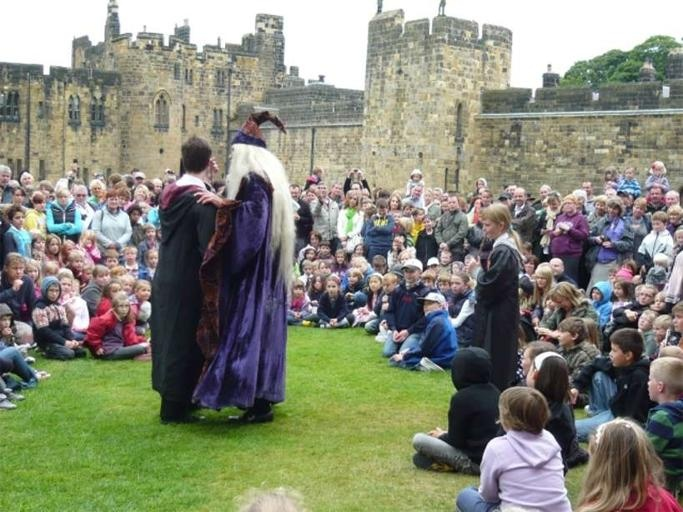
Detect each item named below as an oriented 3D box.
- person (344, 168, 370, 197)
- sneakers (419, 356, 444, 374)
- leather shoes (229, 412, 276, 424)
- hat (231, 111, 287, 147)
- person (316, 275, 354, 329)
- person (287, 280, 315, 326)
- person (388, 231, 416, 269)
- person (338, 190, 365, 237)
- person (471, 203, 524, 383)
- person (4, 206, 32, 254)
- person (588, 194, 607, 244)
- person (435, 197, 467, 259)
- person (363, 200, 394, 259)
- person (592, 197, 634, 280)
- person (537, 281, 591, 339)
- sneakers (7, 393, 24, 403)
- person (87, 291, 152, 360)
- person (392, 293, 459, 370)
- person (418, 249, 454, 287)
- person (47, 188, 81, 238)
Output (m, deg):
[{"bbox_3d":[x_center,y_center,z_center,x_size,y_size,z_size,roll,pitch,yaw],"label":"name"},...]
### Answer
[{"bbox_3d":[0.355,-1.640,29.738,0.628,0.679,0.223,-4,-9,-5],"label":"person"},{"bbox_3d":[1.460,1.739,22.181,0.278,0.088,0.265,18,-16,-30],"label":"sneakers"},{"bbox_3d":[-1.284,2.356,20.135,0.656,0.157,0.202,4,-6,-8],"label":"leather shoes"},{"bbox_3d":[-1.191,-1.817,20.140,0.758,0.532,0.572,7,2,19],"label":"hat"},{"bbox_3d":[-0.117,0.833,24.810,0.725,0.870,0.700,4,16,25],"label":"person"},{"bbox_3d":[-0.686,0.821,25.043,0.474,0.791,0.553,3,4,-4],"label":"person"},{"bbox_3d":[1.155,0.004,25.776,0.480,0.728,0.610,-3,4,-36],"label":"person"},{"bbox_3d":[0.198,-0.807,27.473,0.505,0.956,0.889,4,4,0],"label":"person"},{"bbox_3d":[2.344,0.603,20.570,0.692,2.738,0.295,4,4,4],"label":"person"},{"bbox_3d":[-5.381,-0.405,23.169,0.494,0.857,0.374,1,5,-30],"label":"person"},{"bbox_3d":[4.652,-0.706,24.969,0.353,0.706,0.587,7,0,-3],"label":"person"},{"bbox_3d":[2.124,-0.534,26.082,0.540,1.197,0.598,3,4,-14],"label":"person"},{"bbox_3d":[0.744,-0.498,26.483,0.487,1.189,0.682,1,5,-29],"label":"person"},{"bbox_3d":[4.802,-0.248,24.574,0.735,1.547,0.512,5,4,11],"label":"person"},{"bbox_3d":[3.584,0.888,21.828,1.083,0.932,0.760,-6,15,-2],"label":"person"},{"bbox_3d":[-4.774,2.086,20.455,0.297,0.104,0.104,4,7,2],"label":"sneakers"},{"bbox_3d":[-3.608,1.131,22.464,1.033,1.041,0.500,3,4,-9],"label":"person"},{"bbox_3d":[1.212,1.265,22.007,1.369,1.344,1.044,1,-7,13],"label":"person"},{"bbox_3d":[1.689,0.244,24.053,0.514,0.350,0.737,0,5,-6],"label":"person"},{"bbox_3d":[-4.984,-0.743,25.044,0.663,0.954,0.493,2,5,-17],"label":"person"}]
